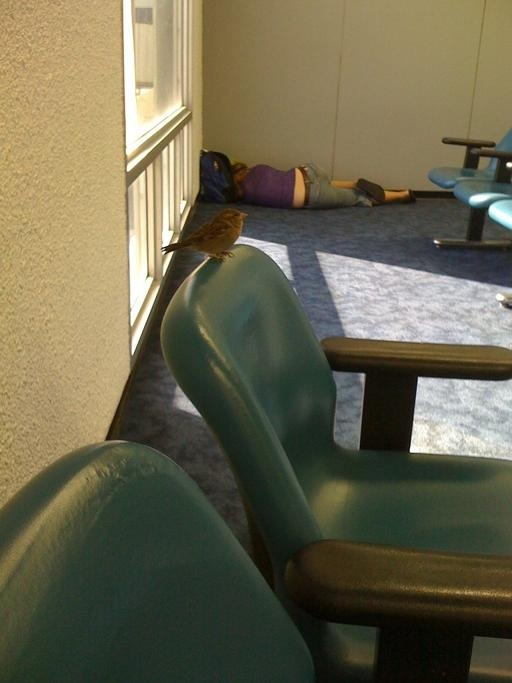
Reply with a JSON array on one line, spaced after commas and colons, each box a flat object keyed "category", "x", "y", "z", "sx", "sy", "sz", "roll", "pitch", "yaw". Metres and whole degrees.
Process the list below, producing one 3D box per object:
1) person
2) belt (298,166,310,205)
[{"category": "person", "x": 0.653, "y": -1.663, "z": 5.501, "sx": 1.239, "sy": 0.340, "sz": 0.789, "roll": 2, "pitch": 25, "yaw": 1}, {"category": "belt", "x": 0.530, "y": -1.666, "z": 5.380, "sx": 0.074, "sy": 0.312, "sz": 0.285, "roll": -2, "pitch": 11, "yaw": -14}]
